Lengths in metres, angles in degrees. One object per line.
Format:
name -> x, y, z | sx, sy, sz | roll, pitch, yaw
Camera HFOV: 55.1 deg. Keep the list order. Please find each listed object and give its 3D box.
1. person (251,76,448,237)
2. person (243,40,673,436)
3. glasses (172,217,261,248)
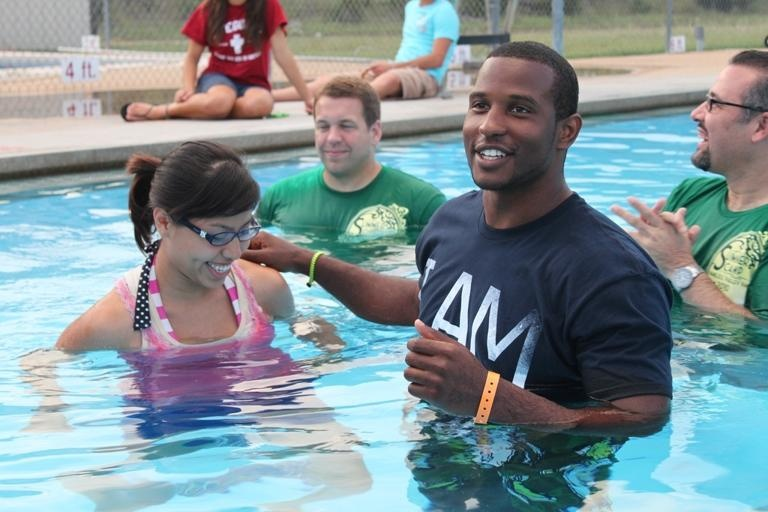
person -> -0.242, -0.861, 6.931 | 2.224, 1.331, 0.985 | 7, 6, 28
person -> 0.690, -0.077, 3.381 | 1.184, 1.776, 0.972 | -1, 20, 10
glasses -> -0.872, -0.121, 4.013 | 0.249, 0.060, 0.242 | 21, 21, 28
